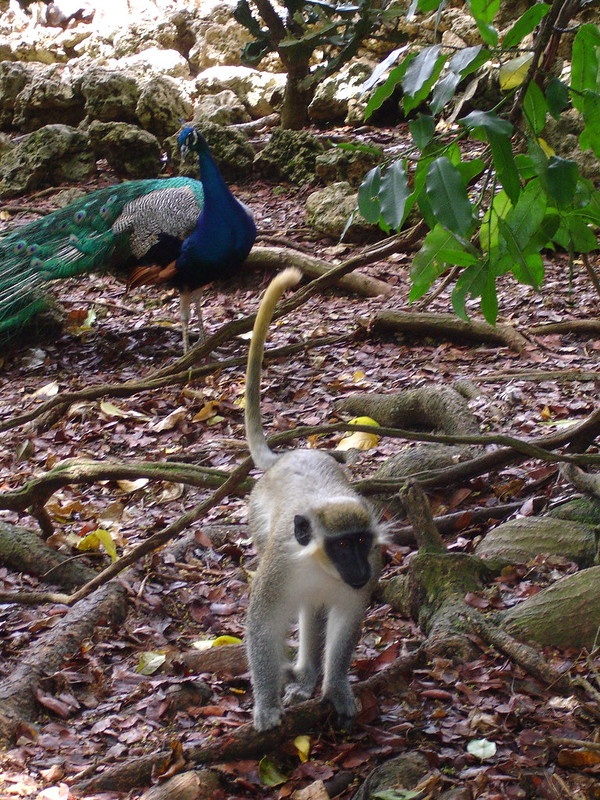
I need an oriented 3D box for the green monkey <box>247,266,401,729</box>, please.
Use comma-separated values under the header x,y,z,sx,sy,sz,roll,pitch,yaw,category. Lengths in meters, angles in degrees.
x,y,z,sx,sy,sz,roll,pitch,yaw,category
0.029,0.479,3.715,0.631,1.913,1.270,-7,27,2,green monkey
